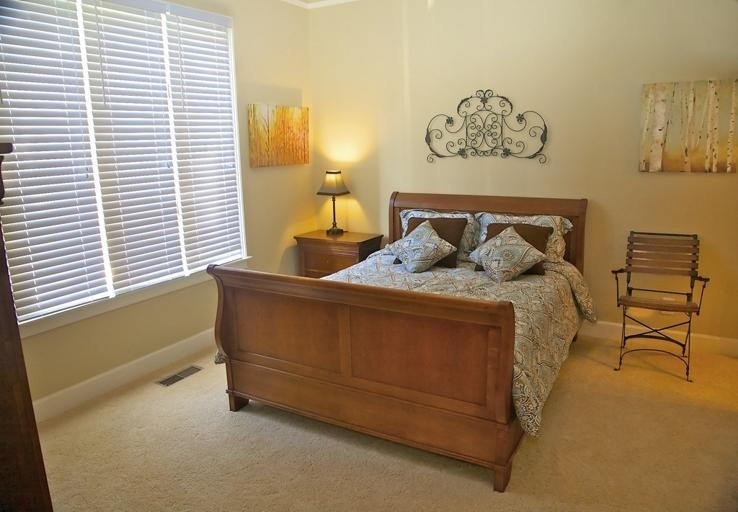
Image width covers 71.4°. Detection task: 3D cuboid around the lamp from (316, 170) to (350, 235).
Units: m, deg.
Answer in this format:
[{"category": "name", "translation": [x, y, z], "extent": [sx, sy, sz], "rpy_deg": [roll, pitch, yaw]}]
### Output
[{"category": "lamp", "translation": [-0.434, -0.656, 6.374], "extent": [0.408, 0.810, 0.385], "rpy_deg": [-3, 23, -10]}]

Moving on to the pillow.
[{"category": "pillow", "translation": [1.319, -0.051, 5.456], "extent": [1.256, 0.331, 0.792], "rpy_deg": [5, 41, 13]}]

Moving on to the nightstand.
[{"category": "nightstand", "translation": [-0.405, -0.235, 6.185], "extent": [0.883, 0.898, 0.555], "rpy_deg": [8, 13, 32]}]

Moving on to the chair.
[{"category": "chair", "translation": [2.780, 0.425, 4.893], "extent": [0.874, 1.193, 0.771], "rpy_deg": [5, 16, 22]}]
